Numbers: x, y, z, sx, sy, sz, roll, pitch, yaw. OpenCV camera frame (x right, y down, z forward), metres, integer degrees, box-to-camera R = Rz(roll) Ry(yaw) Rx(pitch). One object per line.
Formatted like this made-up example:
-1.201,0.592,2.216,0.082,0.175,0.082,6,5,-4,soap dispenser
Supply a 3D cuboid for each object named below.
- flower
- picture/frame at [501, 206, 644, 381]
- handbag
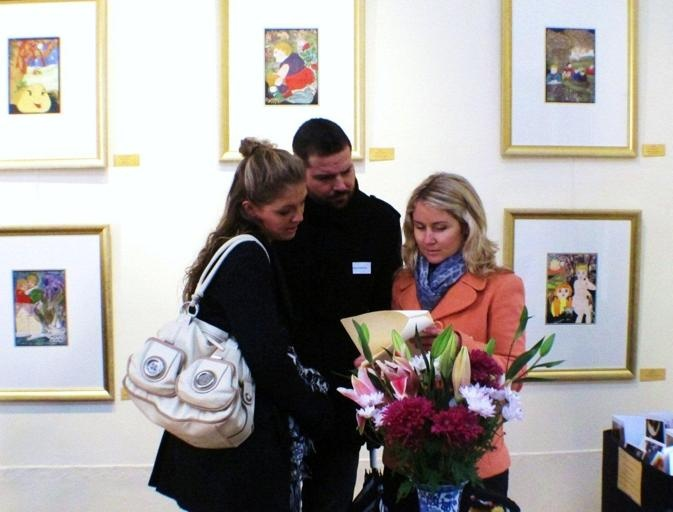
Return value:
0.451,0.404,2.549,0.712,0.658,0.713,-1,-1,-36,flower
1.407,0.203,3.848,0.975,1.323,0.057,0,-1,-4,picture/frame
-0.559,0.364,2.723,0.531,0.861,0.429,12,2,24,handbag
